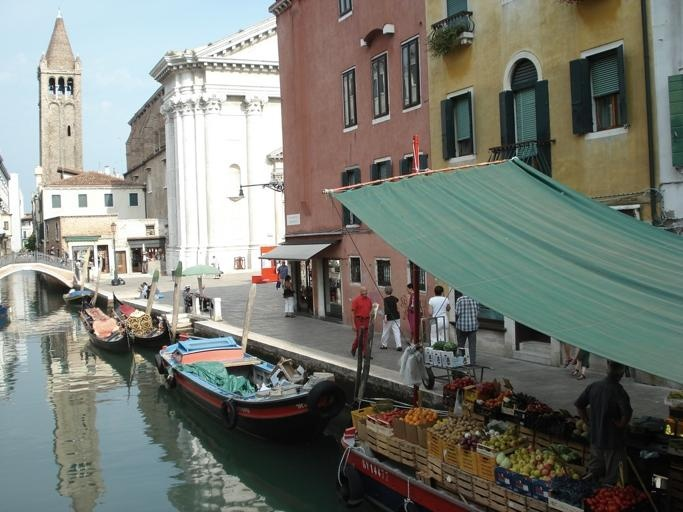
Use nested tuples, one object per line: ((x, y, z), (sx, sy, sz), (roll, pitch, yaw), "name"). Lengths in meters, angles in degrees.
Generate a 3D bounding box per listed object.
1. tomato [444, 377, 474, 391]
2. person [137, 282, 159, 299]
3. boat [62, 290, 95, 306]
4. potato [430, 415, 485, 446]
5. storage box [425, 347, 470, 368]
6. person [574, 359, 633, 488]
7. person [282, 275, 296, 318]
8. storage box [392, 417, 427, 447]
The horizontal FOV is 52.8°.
((2.474, 2.625, 14.224), (0.411, 0.170, 0.311), (-6, 0, -13), "tomato")
((-12.066, 2.199, 42.994), (1.312, 0.847, 2.044), (-1, 0, -23), "person")
((-19.454, 3.097, 50.895), (1.466, 1.230, 4.547), (-5, 9, -29), "boat")
((2.203, 3.293, 13.120), (0.504, 0.180, 0.599), (-21, 12, -41), "potato")
((2.424, 2.427, 16.205), (0.612, 0.281, 0.605), (3, -2, -35), "storage box")
((4.405, 2.741, 11.499), (0.871, 2.072, 0.522), (-2, -1, 36), "person")
((-2.272, 1.737, 29.740), (0.474, 1.411, 1.426), (-2, -1, -5), "person")
((1.367, 3.492, 13.612), (0.441, 0.224, 0.437), (6, -3, -41), "storage box")
